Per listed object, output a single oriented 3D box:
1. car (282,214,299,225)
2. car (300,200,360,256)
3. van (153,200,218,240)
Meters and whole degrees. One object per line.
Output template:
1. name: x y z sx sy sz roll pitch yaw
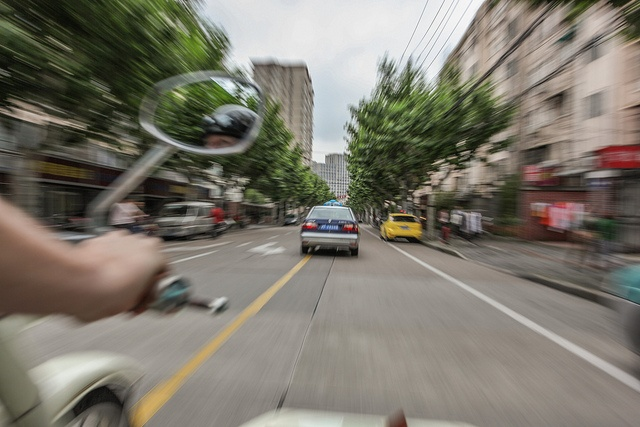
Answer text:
1. car: -3.821 0.943 44.302 1.361 1.266 3.163 1 1 5
2. car: 0.274 0.593 11.146 1.775 1.501 0.966 1 2 0
3. van: -6.499 0.402 17.001 2.078 1.465 3.524 -1 -7 15
